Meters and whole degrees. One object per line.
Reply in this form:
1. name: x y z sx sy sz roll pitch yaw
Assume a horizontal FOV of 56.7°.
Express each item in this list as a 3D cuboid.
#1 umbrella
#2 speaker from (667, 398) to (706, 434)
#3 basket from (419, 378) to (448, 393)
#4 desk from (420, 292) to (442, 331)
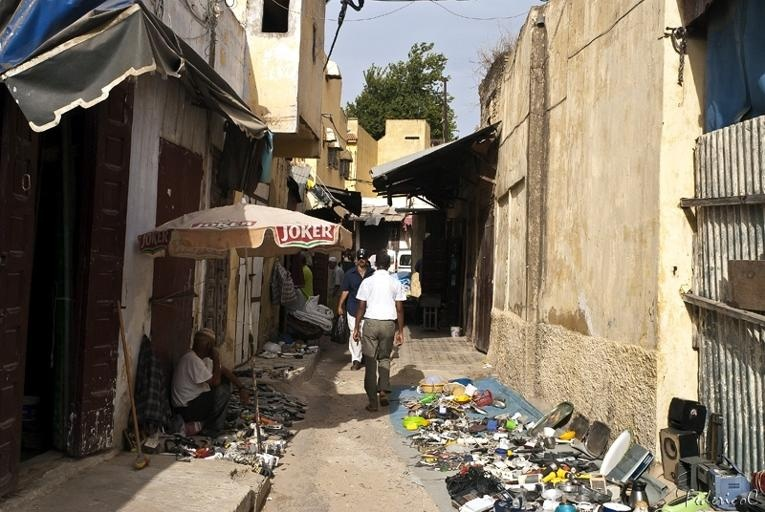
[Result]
1. umbrella: -1.537 0.603 8.735 2.584 2.805 1.534 1 -10 -3
2. speaker: 2.895 1.525 6.782 0.390 0.423 0.218 1 0 -26
3. basket: 0.721 1.945 10.489 0.397 0.205 0.332 2 -1 10
4. desk: 1.193 1.436 18.095 0.712 1.303 0.748 1 -6 -1
